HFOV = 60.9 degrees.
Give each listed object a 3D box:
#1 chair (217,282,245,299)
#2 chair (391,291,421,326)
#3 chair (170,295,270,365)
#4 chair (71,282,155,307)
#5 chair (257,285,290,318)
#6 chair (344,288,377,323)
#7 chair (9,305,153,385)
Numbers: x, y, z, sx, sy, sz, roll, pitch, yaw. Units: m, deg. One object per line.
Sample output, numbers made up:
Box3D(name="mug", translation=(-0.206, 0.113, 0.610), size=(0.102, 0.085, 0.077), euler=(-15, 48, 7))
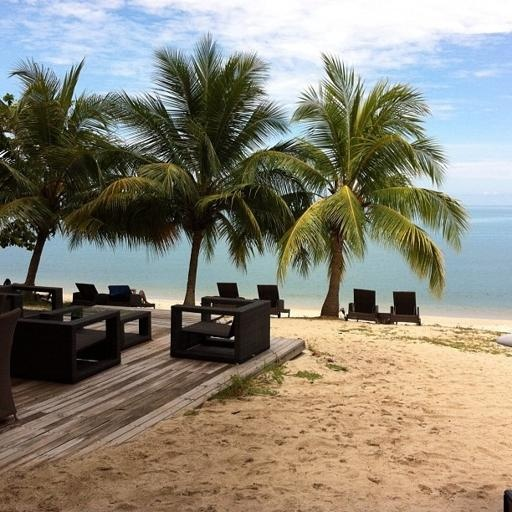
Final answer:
Box3D(name="chair", translation=(-0.685, 0.877, 11.637), size=(0.629, 0.458, 0.472), euler=(1, 6, 30))
Box3D(name="chair", translation=(4.106, 1.437, 11.912), size=(0.698, 1.121, 0.722), euler=(-10, 18, 23))
Box3D(name="chair", translation=(-0.469, 0.981, 5.902), size=(1.146, 0.677, 1.169), euler=(2, 1, 33))
Box3D(name="chair", translation=(-3.872, 1.027, 11.422), size=(1.703, 0.603, 0.702), euler=(5, 0, -19))
Box3D(name="chair", translation=(0.451, 1.311, 12.387), size=(0.673, 0.927, 0.863), euler=(0, -8, 24))
Box3D(name="chair", translation=(2.963, 1.325, 11.932), size=(0.772, 0.795, 0.407), euler=(2, -1, 27))
Box3D(name="chair", translation=(-1.949, 0.953, 4.896), size=(0.776, 0.447, 1.249), euler=(-1, -5, 12))
